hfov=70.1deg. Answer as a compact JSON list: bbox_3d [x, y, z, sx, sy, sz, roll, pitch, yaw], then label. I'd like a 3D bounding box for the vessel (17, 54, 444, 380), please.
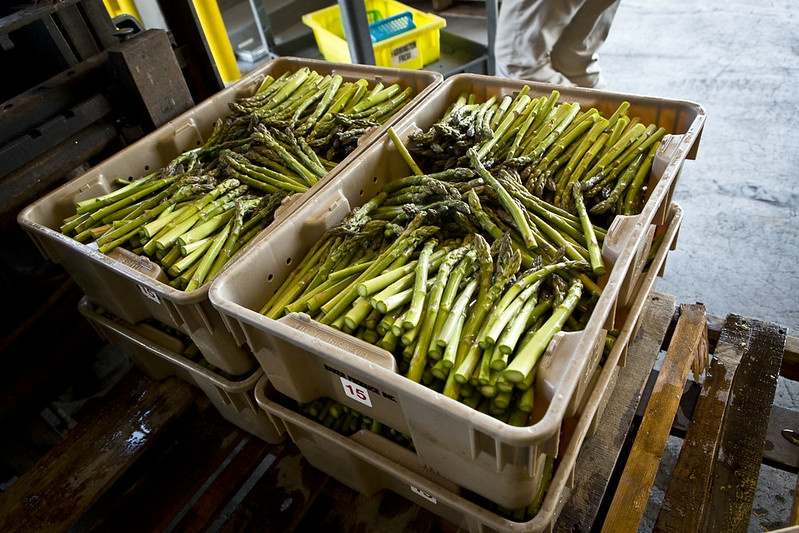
[{"bbox_3d":[-1.234,-0.511,5.792,2.408,1.144,3.502,22,58,32],"label":"vessel"}]

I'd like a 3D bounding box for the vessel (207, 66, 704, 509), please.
[{"bbox_3d":[0.581,-0.235,4.436,2.459,1.267,3.344,24,52,23],"label":"vessel"}]

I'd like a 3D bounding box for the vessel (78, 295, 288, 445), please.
[{"bbox_3d":[-1.734,0.791,4.752,1.590,0.525,1.090,25,53,27],"label":"vessel"}]
